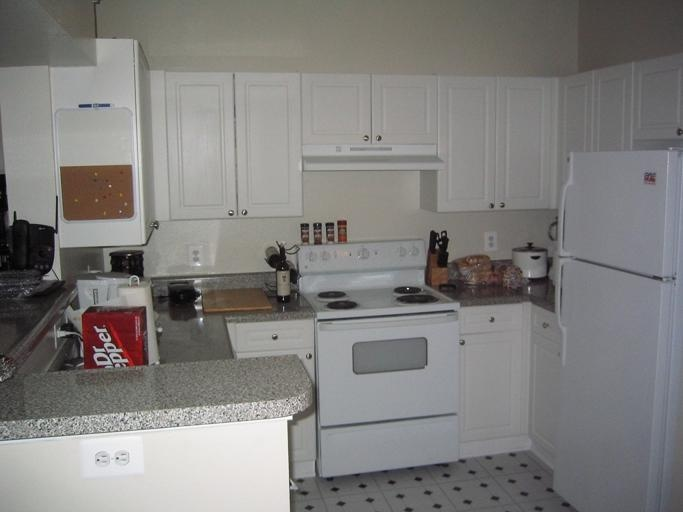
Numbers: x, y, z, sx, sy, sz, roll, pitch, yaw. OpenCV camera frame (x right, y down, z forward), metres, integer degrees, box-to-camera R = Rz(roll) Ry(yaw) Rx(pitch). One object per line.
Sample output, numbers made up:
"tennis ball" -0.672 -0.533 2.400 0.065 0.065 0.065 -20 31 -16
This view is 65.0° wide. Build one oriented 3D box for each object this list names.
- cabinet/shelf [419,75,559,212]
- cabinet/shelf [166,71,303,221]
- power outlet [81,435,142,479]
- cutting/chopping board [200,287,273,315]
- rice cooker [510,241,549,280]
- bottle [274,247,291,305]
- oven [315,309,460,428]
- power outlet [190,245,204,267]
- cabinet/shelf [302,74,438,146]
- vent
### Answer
"cabinet/shelf" 0.991 -0.795 3.649 0.910 0.930 0.364 -1 5 -9
"cabinet/shelf" -0.695 -0.724 3.374 0.884 0.895 0.349 0 4 -9
"power outlet" -0.584 0.505 1.358 0.115 0.085 0.016 -1 4 -13
"cutting/chopping board" -0.671 0.274 3.422 0.407 0.024 0.574 -2 10 -15
"rice cooker" 1.369 0.018 3.885 0.236 0.257 0.270 0 4 7
"bottle" -0.375 0.108 3.522 0.097 0.327 0.279 0 9 -5
"oven" 0.223 0.678 3.478 0.947 0.729 0.652 0 -1 -20
"power outlet" -0.984 -0.008 3.669 0.137 0.199 0.019 -1 3 -10
"cabinet/shelf" 0.189 -0.951 3.622 0.891 0.461 0.318 -1 3 -6
"vent" 0.213 -0.651 3.483 0.921 0.170 0.146 -2 9 -12
